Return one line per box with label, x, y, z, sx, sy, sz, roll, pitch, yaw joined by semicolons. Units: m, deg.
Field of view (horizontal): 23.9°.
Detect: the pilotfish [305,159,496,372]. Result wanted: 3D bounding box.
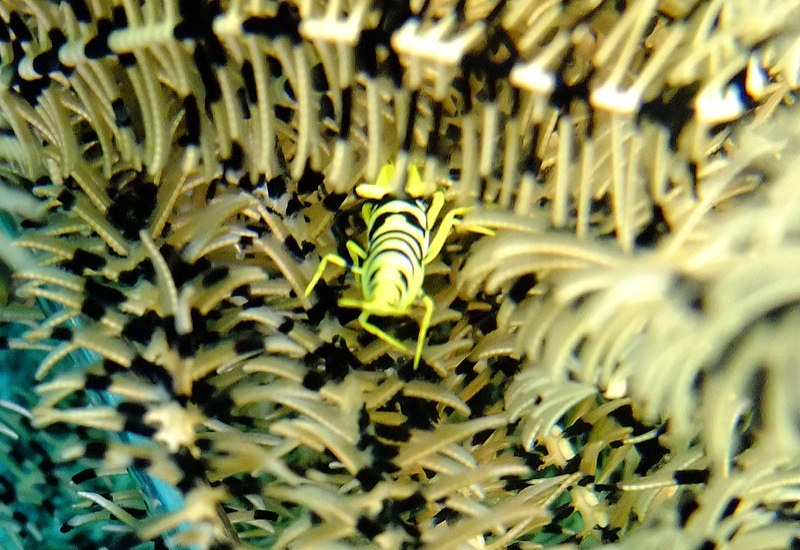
pilotfish;-0.014;-0.039;4.282;0.412;0.133;0.462;4;82;16
